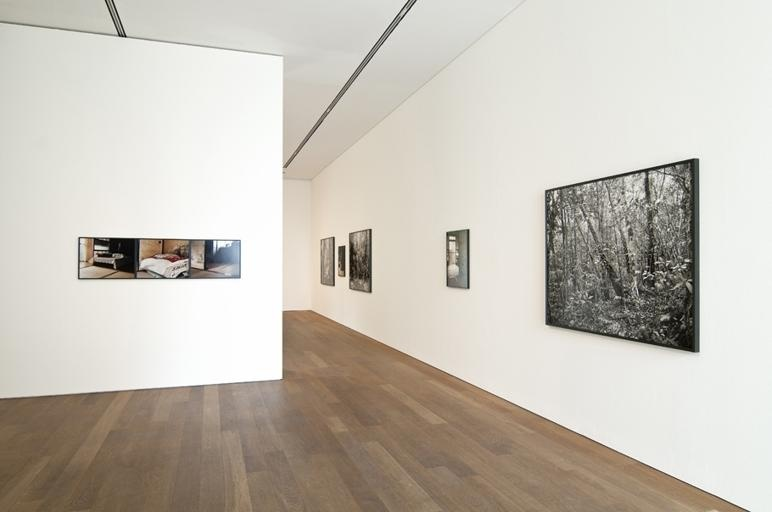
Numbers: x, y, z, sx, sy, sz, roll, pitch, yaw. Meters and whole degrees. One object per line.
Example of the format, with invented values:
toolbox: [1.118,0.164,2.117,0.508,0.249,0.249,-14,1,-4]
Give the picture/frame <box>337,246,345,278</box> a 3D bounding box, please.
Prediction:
picture/frame: [-1.308,0.158,13.993,0.088,1.141,0.915,-1,0,-23]
